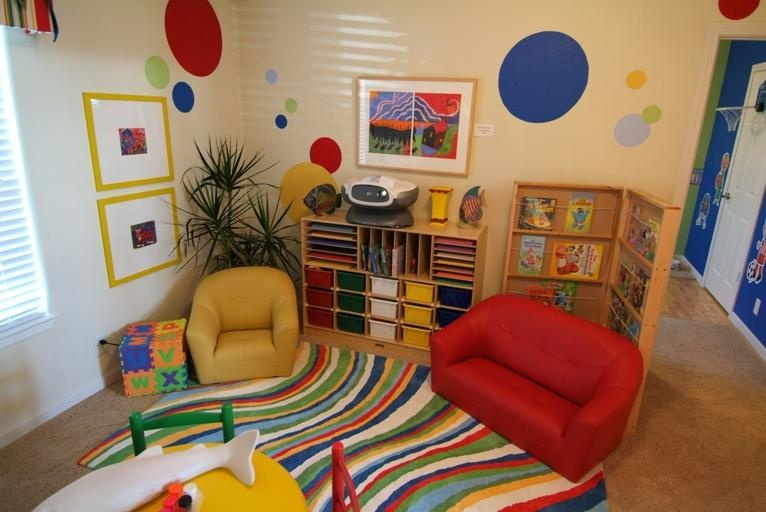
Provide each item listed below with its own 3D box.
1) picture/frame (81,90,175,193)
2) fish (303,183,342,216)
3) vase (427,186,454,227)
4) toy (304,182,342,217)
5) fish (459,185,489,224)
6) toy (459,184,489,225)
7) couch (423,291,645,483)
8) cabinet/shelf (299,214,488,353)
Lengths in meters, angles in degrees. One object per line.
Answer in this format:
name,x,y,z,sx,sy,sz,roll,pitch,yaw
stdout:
picture/frame,-2.268,-1.018,4.393,0.029,0.850,0.820,15,25,34
fish,-0.601,-0.576,5.093,0.404,0.329,0.180,-6,20,-25
vase,0.560,-0.504,4.892,0.217,0.344,0.246,7,18,7
toy,-0.596,-0.567,5.086,0.427,0.325,0.203,-6,15,-26
fish,0.867,-0.488,4.806,0.239,0.378,0.247,8,19,12
toy,0.878,-0.492,4.776,0.109,0.439,0.305,-8,15,-38
couch,1.239,0.988,4.198,0.863,0.917,1.554,-14,26,-40
cabinet/shelf,0.058,0.318,5.173,1.765,1.252,0.638,6,11,9
